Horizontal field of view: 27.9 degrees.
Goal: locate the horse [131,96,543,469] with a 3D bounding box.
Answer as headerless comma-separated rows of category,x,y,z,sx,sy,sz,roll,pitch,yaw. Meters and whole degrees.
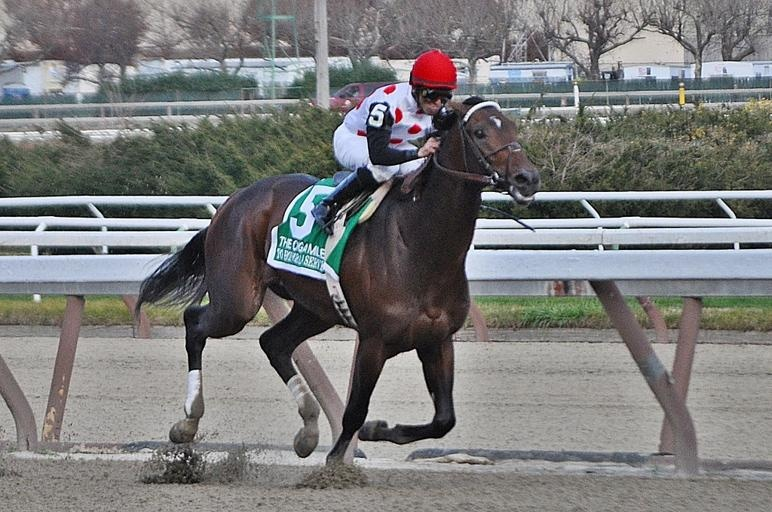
horse,-0.305,0.232,15.547,3.655,3.590,1.045,0,10,5

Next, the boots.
boots,-0.399,-0.518,15.393,0.330,0.642,0.205,36,9,-29

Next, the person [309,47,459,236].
person,0.112,-1.090,15.633,1.345,1.988,0.980,21,22,7
